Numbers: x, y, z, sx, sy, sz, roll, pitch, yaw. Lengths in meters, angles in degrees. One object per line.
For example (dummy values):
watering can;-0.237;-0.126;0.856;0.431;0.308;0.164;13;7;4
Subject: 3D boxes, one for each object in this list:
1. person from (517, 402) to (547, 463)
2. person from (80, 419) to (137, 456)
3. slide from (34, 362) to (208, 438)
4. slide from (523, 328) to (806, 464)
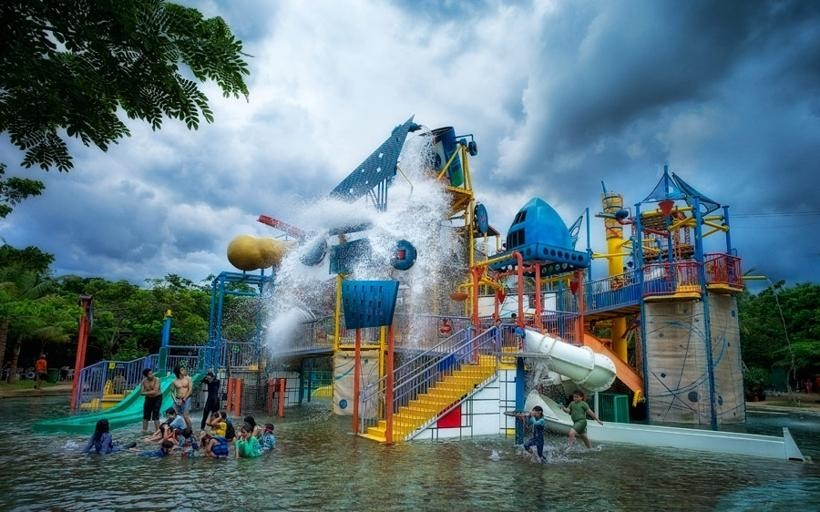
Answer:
person;3.398;4.830;15.315;0.639;1.340;1.771;1;-3;6
person;-8.266;4.986;14.858;0.760;0.919;1.303;-4;-16;15
slide;-10.879;5.356;19.336;1.912;2.831;6.933;-2;-20;11
slide;7.637;4.239;19.021;7.474;3.575;7.891;0;-3;8
